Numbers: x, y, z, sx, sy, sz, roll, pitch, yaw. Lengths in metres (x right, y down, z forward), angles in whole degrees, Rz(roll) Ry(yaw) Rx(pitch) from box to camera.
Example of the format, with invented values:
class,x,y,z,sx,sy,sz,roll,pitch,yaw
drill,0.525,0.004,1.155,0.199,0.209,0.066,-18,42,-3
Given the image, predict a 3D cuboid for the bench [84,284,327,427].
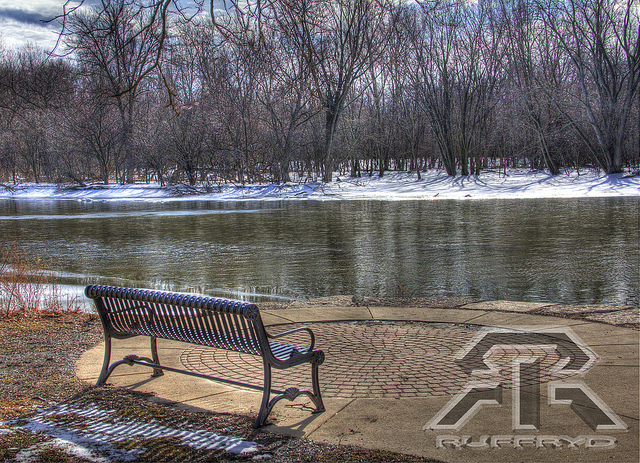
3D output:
class,x,y,z,sx,sy,sz,roll,pitch,yaw
bench,-1.603,1.533,10.537,3.521,1.759,1.661,-1,9,31
